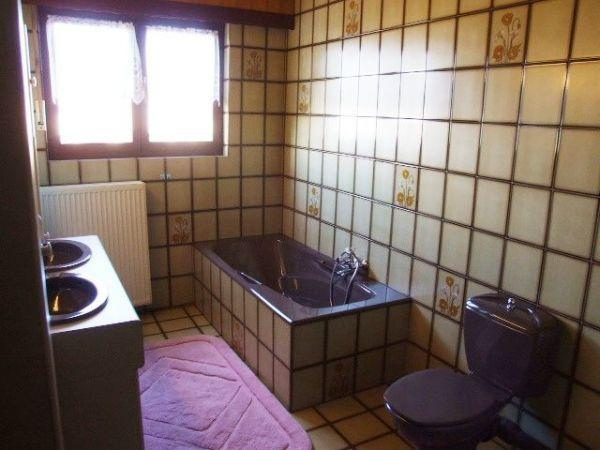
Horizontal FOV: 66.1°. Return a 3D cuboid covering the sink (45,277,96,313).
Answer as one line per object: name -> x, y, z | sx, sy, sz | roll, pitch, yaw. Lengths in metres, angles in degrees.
sink -> -0.901, 0.275, 1.825 | 0.166, 0.096, 0.206 | -7, 17, -30

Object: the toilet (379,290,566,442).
toilet -> 0.664, 0.592, 1.824 | 0.647, 0.531, 0.394 | -7, 16, -31

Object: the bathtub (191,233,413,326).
bathtub -> -0.082, 0.315, 2.924 | 0.733, 0.403, 1.509 | -7, 17, -31

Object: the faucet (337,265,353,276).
faucet -> 0.279, 0.276, 2.818 | 0.052, 0.030, 0.082 | -11, 19, -29
